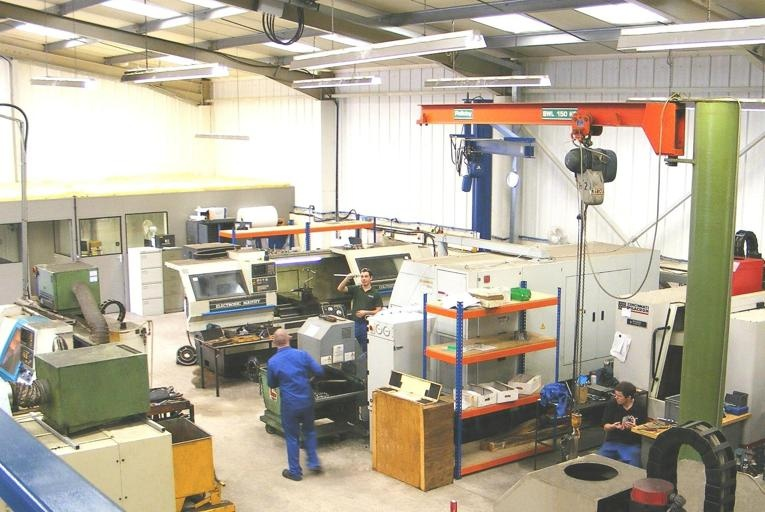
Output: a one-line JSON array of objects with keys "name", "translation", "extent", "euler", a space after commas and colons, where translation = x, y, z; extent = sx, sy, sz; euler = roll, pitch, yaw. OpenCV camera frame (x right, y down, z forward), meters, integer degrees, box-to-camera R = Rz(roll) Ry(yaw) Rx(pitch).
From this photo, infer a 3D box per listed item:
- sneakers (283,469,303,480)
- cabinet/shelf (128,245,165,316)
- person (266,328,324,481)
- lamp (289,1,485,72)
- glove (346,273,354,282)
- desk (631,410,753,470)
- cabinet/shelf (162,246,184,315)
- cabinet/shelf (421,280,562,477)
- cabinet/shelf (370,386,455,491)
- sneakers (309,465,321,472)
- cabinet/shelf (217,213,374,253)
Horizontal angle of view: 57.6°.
[{"name": "sneakers", "translation": [-1.160, 2.778, 8.878], "extent": [0.243, 0.086, 0.112], "euler": [12, 10, 31]}, {"name": "cabinet/shelf", "translation": [-5.340, 0.565, 15.589], "extent": [0.868, 1.535, 0.483], "euler": [-4, 9, -5]}, {"name": "person", "translation": [-1.107, 1.851, 8.896], "extent": [0.671, 1.904, 0.492], "euler": [-6, 9, -14]}, {"name": "lamp", "translation": [-0.001, -2.819, 9.531], "extent": [3.231, 0.312, 0.375], "euler": [5, 12, 43]}, {"name": "glove", "translation": [-0.608, 0.370, 12.460], "extent": [0.102, 0.073, 0.170], "euler": [-5, -11, -12]}, {"name": "desk", "translation": [3.648, 2.151, 8.261], "extent": [1.514, 0.555, 0.504], "euler": [-5, 9, -17]}, {"name": "cabinet/shelf", "translation": [-4.783, 0.541, 15.799], "extent": [0.533, 1.503, 0.297], "euler": [-6, 9, -14]}, {"name": "cabinet/shelf", "translation": [1.367, 1.620, 9.144], "extent": [2.507, 2.632, 0.947], "euler": [-6, 12, -35]}, {"name": "cabinet/shelf", "translation": [0.411, 2.327, 9.025], "extent": [0.676, 1.029, 1.142], "euler": [1, -2, -36]}, {"name": "sneakers", "translation": [-0.894, 2.727, 8.966], "extent": [0.126, 0.081, 0.067], "euler": [0, -3, -36]}, {"name": "cabinet/shelf", "translation": [-2.052, -0.579, 16.438], "extent": [3.166, 0.697, 3.982], "euler": [-3, 8, 0]}]
